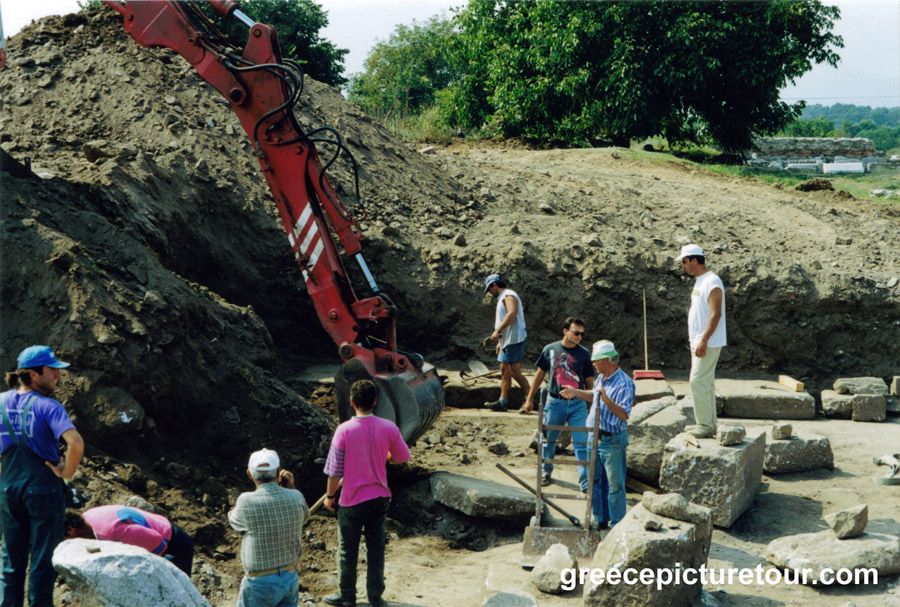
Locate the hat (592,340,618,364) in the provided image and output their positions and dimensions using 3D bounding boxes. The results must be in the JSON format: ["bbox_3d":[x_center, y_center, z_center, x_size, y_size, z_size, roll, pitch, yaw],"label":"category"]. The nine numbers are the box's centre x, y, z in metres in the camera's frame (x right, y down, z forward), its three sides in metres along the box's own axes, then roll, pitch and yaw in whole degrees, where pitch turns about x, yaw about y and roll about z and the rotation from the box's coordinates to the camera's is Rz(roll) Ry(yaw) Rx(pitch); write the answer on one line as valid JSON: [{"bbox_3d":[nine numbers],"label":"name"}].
[{"bbox_3d":[2.115,0.654,16.521,0.333,0.283,0.253,4,7,6],"label":"hat"}]

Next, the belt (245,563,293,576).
[{"bbox_3d":[-2.205,3.260,14.866,0.594,0.127,0.116,-3,-1,-5],"label":"belt"}]

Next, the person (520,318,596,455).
[{"bbox_3d":[1.506,1.158,17.817,0.733,2.194,0.953,0,1,17],"label":"person"}]

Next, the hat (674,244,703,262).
[{"bbox_3d":[3.316,-0.723,16.977,0.413,0.231,0.318,3,6,21],"label":"hat"}]

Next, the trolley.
[{"bbox_3d":[1.559,2.399,16.651,0.989,2.273,0.737,3,-1,5],"label":"trolley"}]

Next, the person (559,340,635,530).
[{"bbox_3d":[2.005,1.737,16.621,0.970,2.626,0.878,-1,1,-42],"label":"person"}]

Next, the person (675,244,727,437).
[{"bbox_3d":[3.553,0.480,17.102,0.708,2.672,0.941,-1,9,10],"label":"person"}]

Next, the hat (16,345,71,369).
[{"bbox_3d":[-5.120,0.674,15.156,0.527,0.303,0.336,-2,2,-17],"label":"hat"}]

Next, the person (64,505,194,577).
[{"bbox_3d":[-3.917,2.928,14.910,1.457,0.707,0.714,-2,-1,-17],"label":"person"}]

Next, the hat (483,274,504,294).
[{"bbox_3d":[0.648,-0.334,19.699,0.331,0.184,0.253,-15,4,31],"label":"hat"}]

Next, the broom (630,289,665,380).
[{"bbox_3d":[3.378,0.697,20.873,0.417,1.486,0.630,4,-23,-4],"label":"broom"}]
